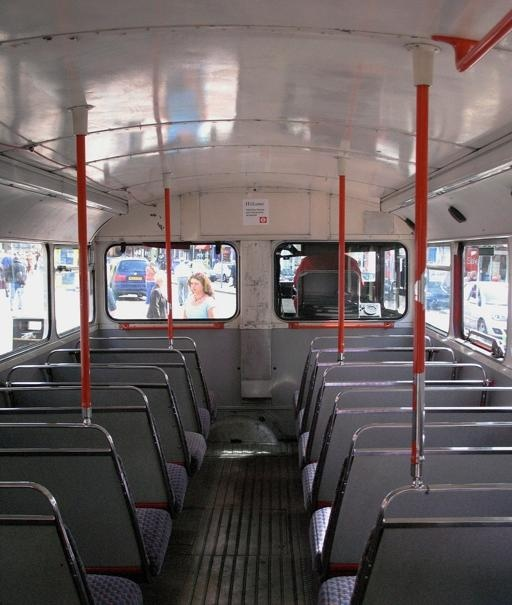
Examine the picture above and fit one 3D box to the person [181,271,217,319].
[{"bbox_3d":[-0.723,-0.126,6.757,0.554,0.744,0.353,2,1,9],"label":"person"}]
